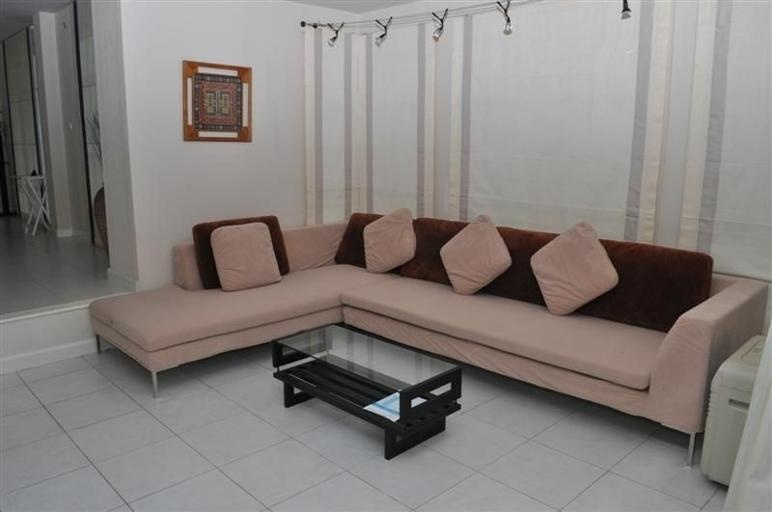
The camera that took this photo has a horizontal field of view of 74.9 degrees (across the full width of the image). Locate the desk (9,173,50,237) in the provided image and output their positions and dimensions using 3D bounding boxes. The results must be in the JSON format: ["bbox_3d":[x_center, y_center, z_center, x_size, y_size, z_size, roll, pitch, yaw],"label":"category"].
[{"bbox_3d":[-5.536,-0.847,8.020,0.424,0.646,0.518,-1,25,26],"label":"desk"}]

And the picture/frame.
[{"bbox_3d":[-1.735,-1.586,5.119,0.922,0.896,0.074,-4,7,-38],"label":"picture/frame"}]

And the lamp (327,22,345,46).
[{"bbox_3d":[-0.566,-2.516,5.720,0.214,0.262,0.320,-4,19,-5],"label":"lamp"}]

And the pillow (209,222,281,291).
[{"bbox_3d":[-1.354,0.011,4.822,0.661,0.618,0.201,-13,-5,-42],"label":"pillow"}]

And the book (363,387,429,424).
[{"bbox_3d":[0.039,1.033,3.475,0.270,0.034,0.255,15,26,43],"label":"book"}]

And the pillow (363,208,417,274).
[{"bbox_3d":[0.035,-0.156,5.282,0.643,0.613,0.239,-16,-22,42],"label":"pillow"}]
